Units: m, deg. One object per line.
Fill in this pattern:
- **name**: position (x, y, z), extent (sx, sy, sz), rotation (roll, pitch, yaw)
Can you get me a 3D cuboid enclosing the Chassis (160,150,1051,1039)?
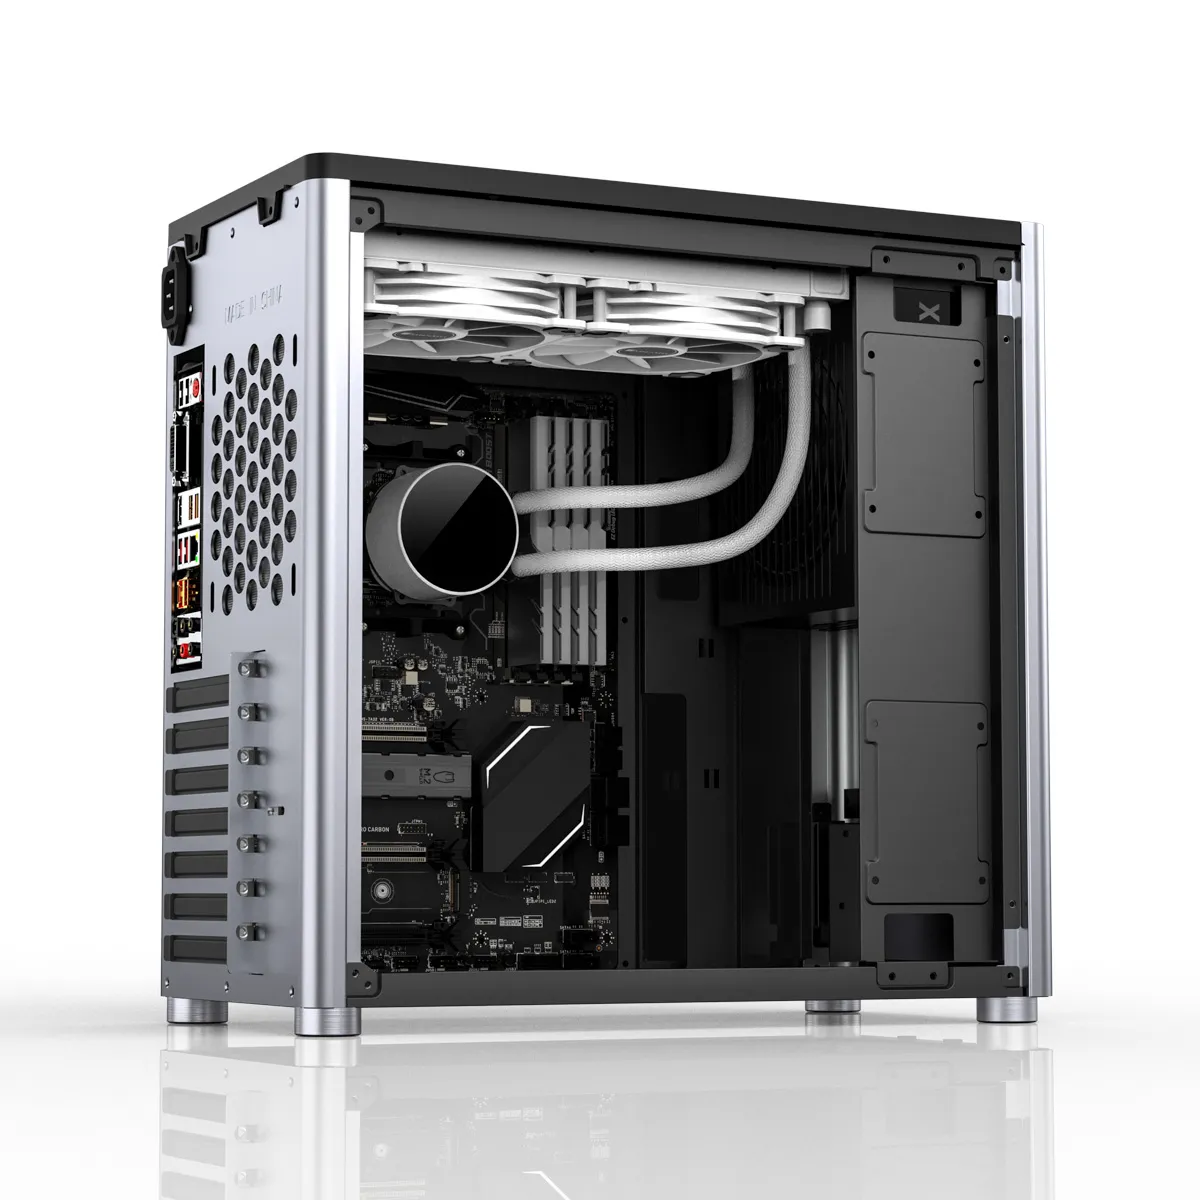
- **Chassis**: position (-0.002, 0.035, 5.632), extent (2.232, 2.364, 1.322), rotation (3, -7, -24)
